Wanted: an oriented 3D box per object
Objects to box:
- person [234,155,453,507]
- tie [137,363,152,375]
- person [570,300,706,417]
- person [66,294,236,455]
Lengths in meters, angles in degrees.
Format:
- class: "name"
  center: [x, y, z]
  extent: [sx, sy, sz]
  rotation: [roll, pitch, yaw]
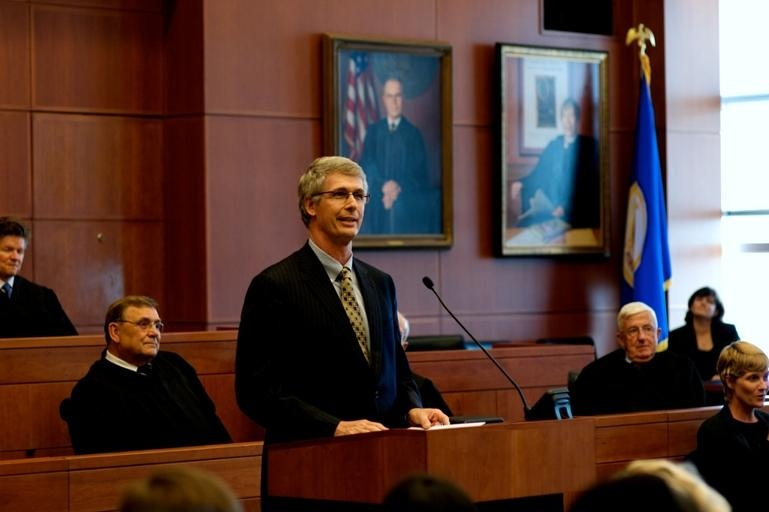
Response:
- class: "person"
  center: [-0.288, 0.188, 3.525]
  extent: [0.774, 1.257, 0.521]
  rotation: [-2, 6, -12]
- class: "tie"
  center: [-1.403, 0.643, 4.565]
  extent: [0.057, 0.048, 0.060]
  rotation: [0, 1, -18]
- class: "person"
  center: [1.737, 0.765, 5.300]
  extent: [0.874, 0.899, 0.499]
  rotation: [0, -24, 13]
- class: "person"
  center: [-1.444, 0.753, 4.633]
  extent: [0.568, 1.040, 1.077]
  rotation: [-2, 2, 30]
